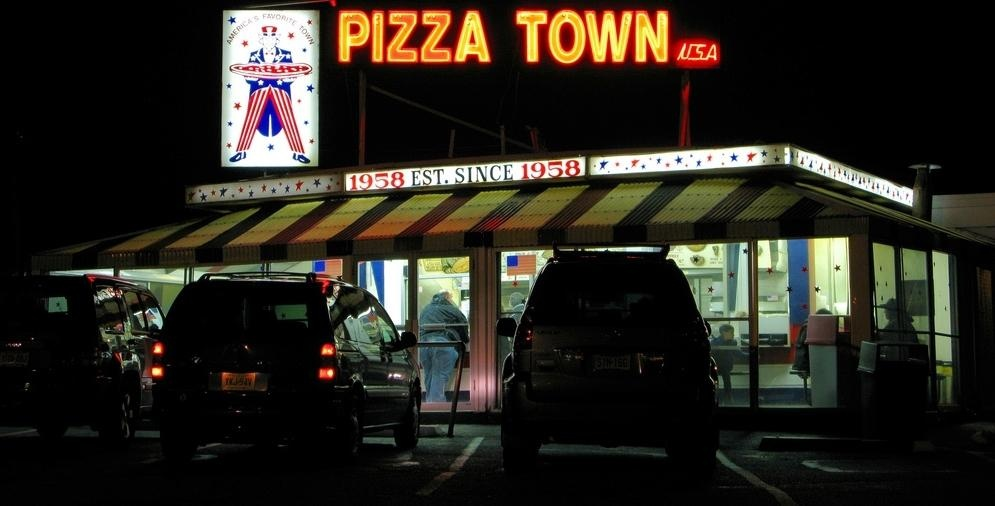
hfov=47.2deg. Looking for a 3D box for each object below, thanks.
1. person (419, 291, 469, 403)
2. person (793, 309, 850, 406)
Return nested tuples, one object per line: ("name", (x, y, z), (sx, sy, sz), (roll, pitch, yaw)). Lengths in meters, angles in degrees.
("person", (-1.447, 2.489, 30.439), (1.262, 2.951, 0.661), (-1, -8, -2))
("person", (8.445, 2.553, 28.793), (0.985, 1.556, 0.911), (-7, -1, -34))
